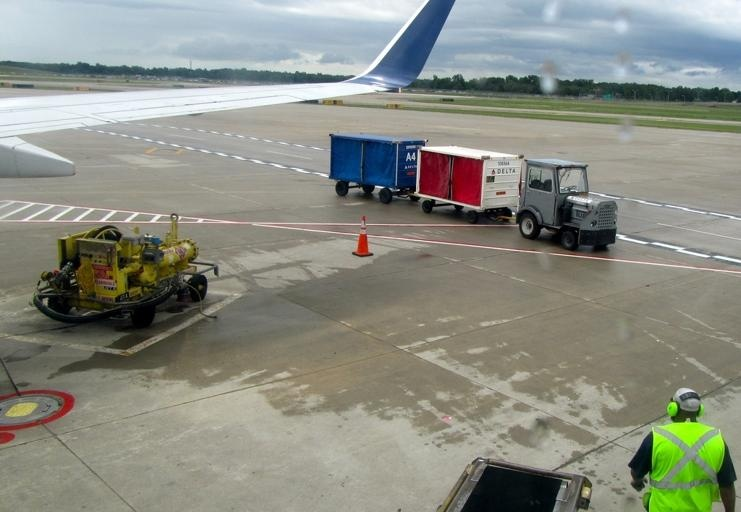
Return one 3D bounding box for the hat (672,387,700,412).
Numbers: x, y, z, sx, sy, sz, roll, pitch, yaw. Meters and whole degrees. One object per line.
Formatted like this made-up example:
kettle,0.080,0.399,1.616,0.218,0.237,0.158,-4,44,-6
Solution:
hat,3.950,1.776,6.518,0.388,0.236,0.268,4,47,5
